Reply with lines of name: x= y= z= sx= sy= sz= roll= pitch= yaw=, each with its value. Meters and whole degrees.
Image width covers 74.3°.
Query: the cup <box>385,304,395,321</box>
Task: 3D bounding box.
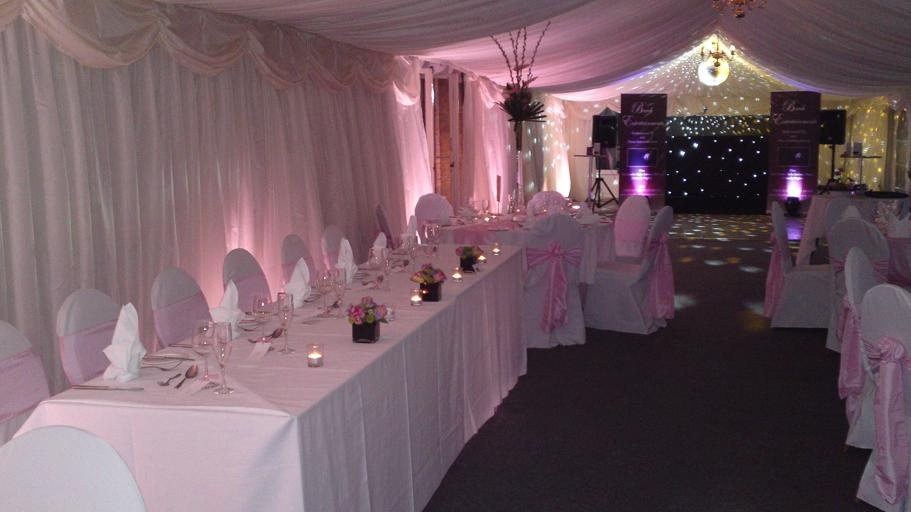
cup: x=-0.471 y=0.425 z=4.392 sx=0.077 sy=0.091 sz=0.086 roll=0 pitch=-1 yaw=0

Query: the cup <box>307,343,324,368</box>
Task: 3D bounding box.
cup: x=-0.889 y=0.641 z=3.878 sx=0.124 sy=0.147 sz=0.121 roll=1 pitch=9 yaw=0

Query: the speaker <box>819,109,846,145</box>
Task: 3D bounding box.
speaker: x=9.473 y=-3.249 z=15.072 sx=0.560 sy=0.877 sz=0.653 roll=4 pitch=10 yaw=30

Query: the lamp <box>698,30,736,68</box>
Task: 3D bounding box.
lamp: x=5.949 y=-4.730 z=13.667 sx=0.715 sy=1.075 sz=0.739 roll=4 pitch=18 yaw=26

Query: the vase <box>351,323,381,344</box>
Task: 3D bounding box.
vase: x=-0.603 y=0.519 z=4.106 sx=0.146 sy=0.117 sz=0.152 roll=0 pitch=4 yaw=10

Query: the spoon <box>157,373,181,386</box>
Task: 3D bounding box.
spoon: x=-1.745 y=0.756 z=3.680 sx=0.035 sy=0.026 sz=0.152 roll=5 pitch=12 yaw=11

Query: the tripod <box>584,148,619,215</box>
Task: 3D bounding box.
tripod: x=4.080 y=-2.158 z=17.280 sx=0.770 sy=1.293 sz=0.862 roll=1 pitch=-2 yaw=10

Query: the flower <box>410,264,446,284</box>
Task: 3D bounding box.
flower: x=-0.189 y=0.153 z=4.744 sx=0.184 sy=0.109 sz=0.189 roll=1 pitch=8 yaw=5

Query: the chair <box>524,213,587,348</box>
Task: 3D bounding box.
chair: x=1.095 y=0.268 z=6.578 sx=0.639 sy=1.450 sz=0.318 roll=-1 pitch=9 yaw=7

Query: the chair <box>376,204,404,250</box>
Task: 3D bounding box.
chair: x=-0.870 y=-0.306 z=8.453 sx=0.203 sy=0.929 sz=0.234 roll=-19 pitch=46 yaw=-4

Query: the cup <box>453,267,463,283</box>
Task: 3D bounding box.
cup: x=0.030 y=0.173 z=5.197 sx=0.097 sy=0.116 sz=0.100 roll=2 pitch=8 yaw=0

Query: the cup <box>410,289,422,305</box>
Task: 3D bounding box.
cup: x=-0.294 y=0.318 z=4.674 sx=0.091 sy=0.108 sz=0.093 roll=0 pitch=8 yaw=0

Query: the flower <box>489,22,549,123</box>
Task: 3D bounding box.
flower: x=0.959 y=-2.693 z=9.102 sx=0.743 sy=1.181 sz=0.848 roll=-4 pitch=10 yaw=-7

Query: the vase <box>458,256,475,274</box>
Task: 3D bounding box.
vase: x=0.107 y=0.083 z=5.376 sx=0.136 sy=0.139 sz=0.127 roll=2 pitch=7 yaw=7

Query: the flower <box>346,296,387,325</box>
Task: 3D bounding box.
flower: x=-0.591 y=0.385 z=4.102 sx=0.201 sy=0.159 sz=0.208 roll=-1 pitch=5 yaw=1

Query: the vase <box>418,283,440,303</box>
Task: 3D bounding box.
vase: x=-0.199 y=0.279 z=4.693 sx=0.144 sy=0.147 sz=0.149 roll=2 pitch=7 yaw=10

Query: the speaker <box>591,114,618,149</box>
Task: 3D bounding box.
speaker: x=4.160 y=-3.427 z=16.482 sx=1.055 sy=0.852 sz=0.466 roll=-8 pitch=11 yaw=-36
